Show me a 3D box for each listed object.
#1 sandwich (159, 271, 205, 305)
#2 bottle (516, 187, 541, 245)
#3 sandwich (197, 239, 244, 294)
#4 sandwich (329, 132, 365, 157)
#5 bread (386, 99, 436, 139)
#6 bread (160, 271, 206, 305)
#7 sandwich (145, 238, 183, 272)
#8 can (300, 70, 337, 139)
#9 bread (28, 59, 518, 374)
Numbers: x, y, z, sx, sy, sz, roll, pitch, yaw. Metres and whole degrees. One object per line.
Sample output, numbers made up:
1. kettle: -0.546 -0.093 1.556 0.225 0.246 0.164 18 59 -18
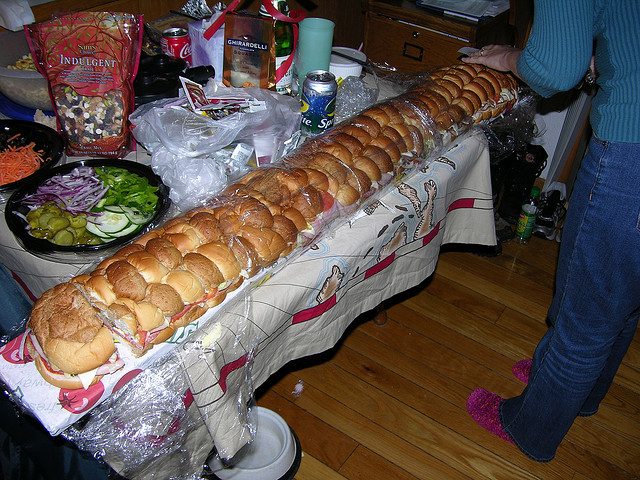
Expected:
1. sandwich: -0.246 0.089 0.830 0.069 0.020 0.053 42 67 -11
2. bottle: 1.039 -0.113 2.304 0.085 0.303 0.080 -1 35 1
3. sandwich: -0.190 0.056 0.906 0.072 0.029 0.097 -37 100 -41
4. sandwich: 0.066 -0.239 1.146 0.065 0.021 0.071 39 11 37
5. bread: 0.243 -0.323 1.244 0.101 0.063 0.112 23 38 24
6. bread: -0.245 0.088 0.830 0.069 0.021 0.053 37 65 -12
7. sandwich: -0.292 0.024 0.863 0.080 0.027 0.044 26 44 27
8. can: -0.005 -0.369 1.302 0.098 0.194 0.101 2 29 -1
9. bread: -0.121 -0.090 1.130 1.587 0.169 0.285 -33 67 -33
